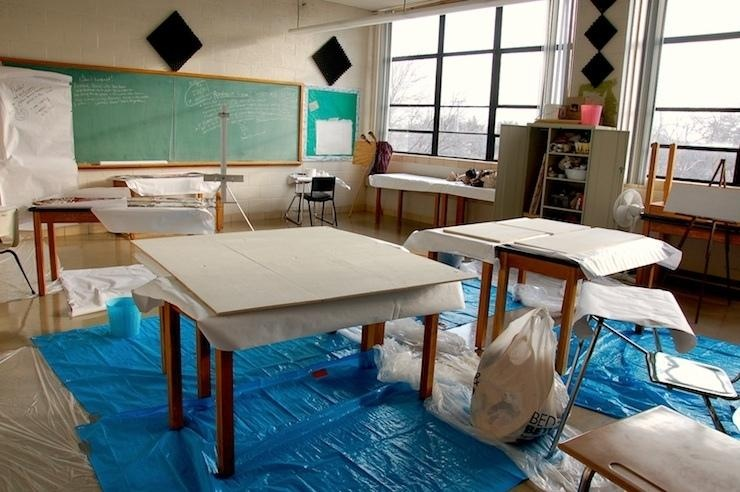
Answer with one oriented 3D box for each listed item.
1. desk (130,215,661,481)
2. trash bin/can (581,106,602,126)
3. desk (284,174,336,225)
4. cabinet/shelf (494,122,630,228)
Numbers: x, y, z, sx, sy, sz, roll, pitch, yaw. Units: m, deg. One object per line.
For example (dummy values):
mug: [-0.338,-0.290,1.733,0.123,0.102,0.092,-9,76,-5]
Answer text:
desk: [-0.497,0.573,3.368,1.986,1.147,1.359,-8,16,-28]
trash bin/can: [2.876,-1.727,6.103,0.253,0.295,0.371,6,15,23]
desk: [-0.849,-0.769,7.923,0.534,0.782,0.577,4,4,-7]
cabinet/shelf: [2.596,-0.980,6.186,0.475,1.343,1.452,-9,15,-43]
